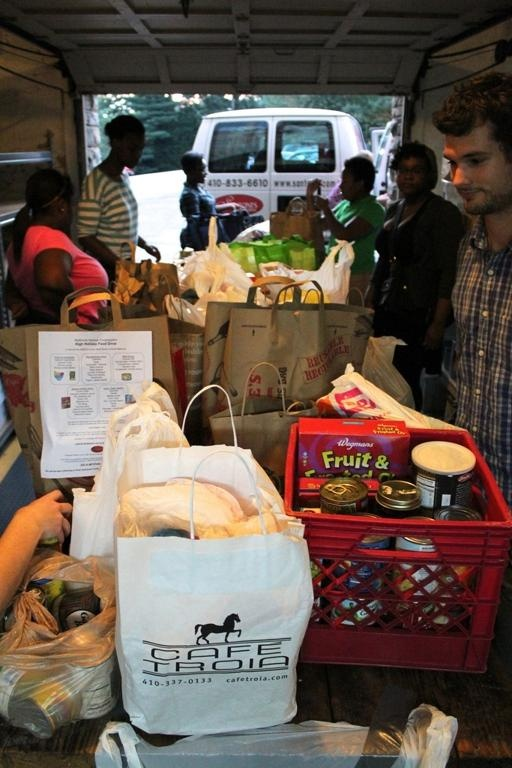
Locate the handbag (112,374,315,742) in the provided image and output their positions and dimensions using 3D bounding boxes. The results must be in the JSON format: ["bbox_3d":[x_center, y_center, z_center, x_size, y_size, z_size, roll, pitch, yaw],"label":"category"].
[{"bbox_3d":[-0.069,0.279,0.858,0.259,0.372,0.267,0,17,-10],"label":"handbag"}]

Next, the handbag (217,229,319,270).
[{"bbox_3d":[0.073,-0.623,2.770,0.396,0.154,0.258,-2,38,-12],"label":"handbag"}]

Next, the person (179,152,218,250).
[{"bbox_3d":[-0.563,-1.789,5.682,0.346,0.921,0.861,1,16,-7],"label":"person"}]

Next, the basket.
[{"bbox_3d":[0.188,0.278,0.934,0.312,0.196,0.303,3,36,3],"label":"basket"}]
